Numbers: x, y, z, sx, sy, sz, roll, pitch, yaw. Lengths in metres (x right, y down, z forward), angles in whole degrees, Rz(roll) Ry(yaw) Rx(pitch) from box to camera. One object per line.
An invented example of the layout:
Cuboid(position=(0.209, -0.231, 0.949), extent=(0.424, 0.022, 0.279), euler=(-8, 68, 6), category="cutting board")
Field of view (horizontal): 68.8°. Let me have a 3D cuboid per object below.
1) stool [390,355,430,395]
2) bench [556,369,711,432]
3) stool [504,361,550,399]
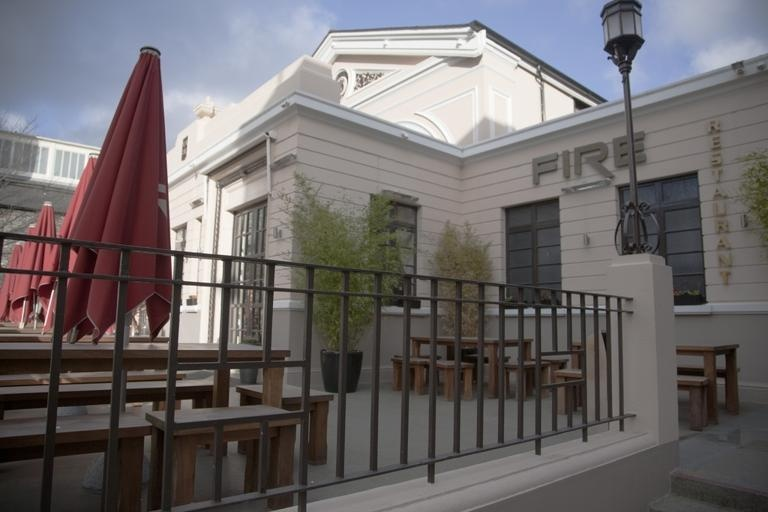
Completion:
Cuboid(position=(0.467, 1.827, 8.819), extent=(0.695, 0.538, 0.719), euler=(0, 1, 0), category="stool")
Cuboid(position=(2.652, 1.509, 5.885), extent=(0.901, 0.452, 0.708), euler=(6, -9, -39), category="bench")
Cuboid(position=(2.149, 1.848, 8.520), extent=(0.743, 0.568, 0.784), euler=(0, -8, 34), category="stool")
